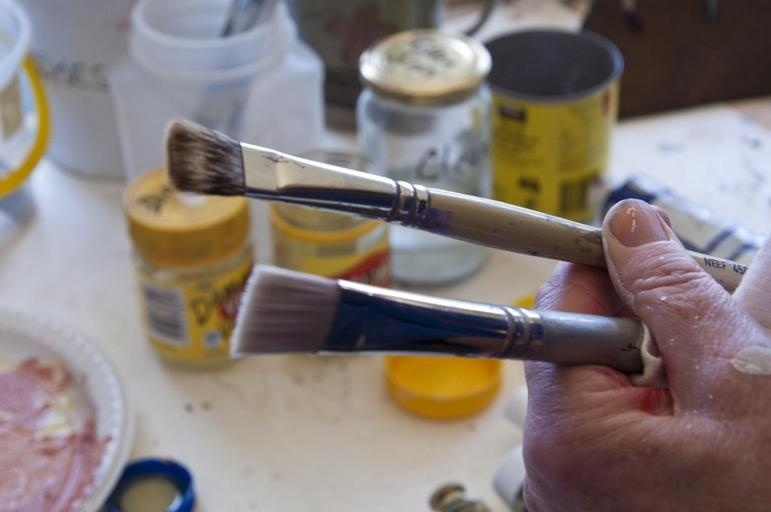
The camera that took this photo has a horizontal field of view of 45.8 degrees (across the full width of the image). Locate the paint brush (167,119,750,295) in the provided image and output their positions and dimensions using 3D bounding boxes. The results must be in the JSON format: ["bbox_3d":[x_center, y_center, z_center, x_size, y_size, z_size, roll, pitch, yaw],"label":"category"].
[{"bbox_3d":[0.065,-0.029,0.697,0.486,0.055,0.067,10,3,-32],"label":"paint brush"}]
